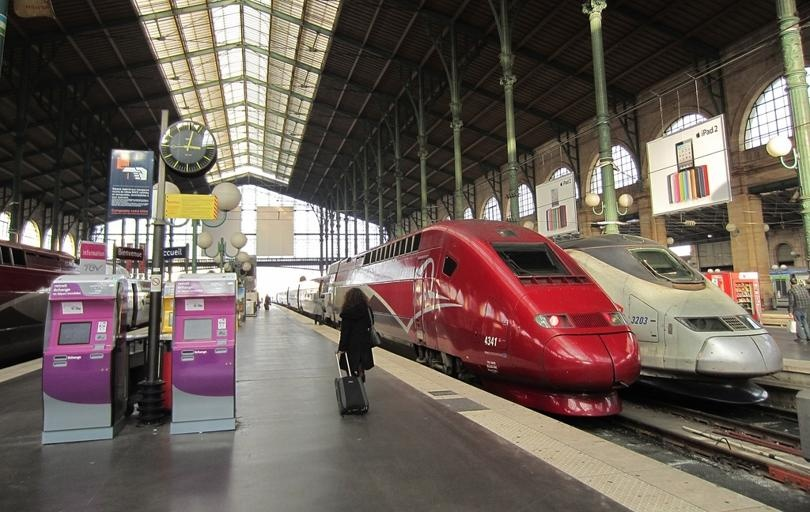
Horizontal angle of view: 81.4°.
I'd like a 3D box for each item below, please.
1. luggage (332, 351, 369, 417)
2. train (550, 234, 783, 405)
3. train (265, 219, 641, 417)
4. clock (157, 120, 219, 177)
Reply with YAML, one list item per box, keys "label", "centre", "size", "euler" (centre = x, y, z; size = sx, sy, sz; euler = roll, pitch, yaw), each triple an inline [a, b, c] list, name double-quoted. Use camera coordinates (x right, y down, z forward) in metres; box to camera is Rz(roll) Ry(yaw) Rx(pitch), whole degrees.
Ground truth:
- label: "luggage"
  centre: [-0.926, 2.378, 8.398]
  size: [0.551, 0.648, 0.964]
  euler: [-1, 5, -6]
- label: "train"
  centre: [6.305, 1.227, 13.741]
  size: [2.536, 3.342, 9.025]
  euler: [-2, 3, -12]
- label: "train"
  centre: [0.909, 1.524, 16.234]
  size: [3.230, 4.180, 16.374]
  euler: [5, -6, -20]
- label: "clock"
  centre: [-4.256, -2.112, 9.229]
  size: [0.999, 1.063, 1.079]
  euler: [-5, -3, -29]
